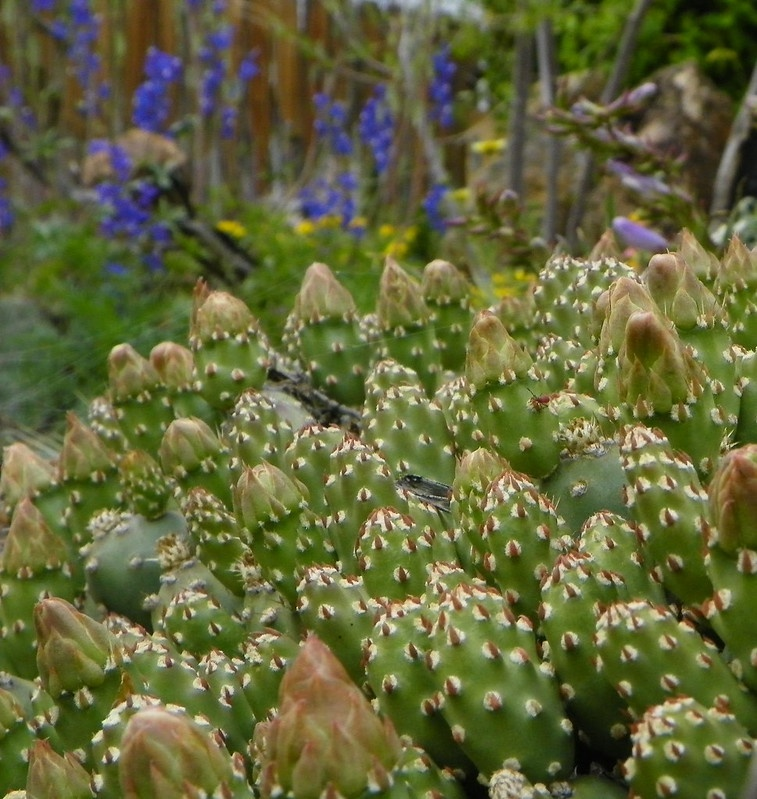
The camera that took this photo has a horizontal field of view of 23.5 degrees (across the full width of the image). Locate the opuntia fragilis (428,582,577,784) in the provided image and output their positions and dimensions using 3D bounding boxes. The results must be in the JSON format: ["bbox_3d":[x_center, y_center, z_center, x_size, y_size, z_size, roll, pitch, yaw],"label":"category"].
[{"bbox_3d":[0.173,0.471,2.937,0.171,0.333,0.154,-20,-14,-16],"label":"opuntia fragilis"}]
